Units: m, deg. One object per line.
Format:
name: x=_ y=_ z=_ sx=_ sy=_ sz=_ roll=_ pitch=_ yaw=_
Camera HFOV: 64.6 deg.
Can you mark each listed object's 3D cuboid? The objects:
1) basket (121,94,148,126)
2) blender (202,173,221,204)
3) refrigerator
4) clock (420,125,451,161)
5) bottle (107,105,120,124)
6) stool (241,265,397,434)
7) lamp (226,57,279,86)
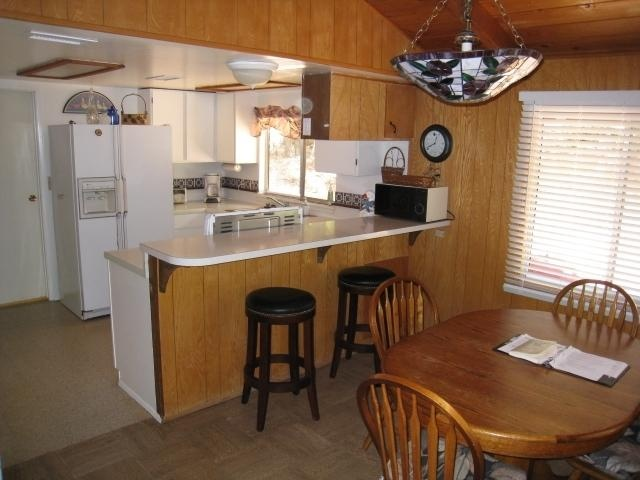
basket: x=-2.162 y=-1.539 z=5.877 sx=0.320 sy=0.355 sz=0.985 roll=-3 pitch=15 yaw=-19
blender: x=-1.502 y=-0.742 z=7.082 sx=0.230 sy=0.359 sz=0.492 roll=-2 pitch=15 yaw=-12
refrigerator: x=-2.285 y=-0.228 z=5.545 sx=1.330 sy=2.033 sz=0.796 roll=-2 pitch=15 yaw=-15
clock: x=1.121 y=-0.946 z=4.899 sx=0.045 sy=0.339 sz=0.337 roll=-9 pitch=14 yaw=-42
bottle: x=-2.246 y=-1.373 z=5.519 sx=0.115 sy=0.199 sz=0.534 roll=-4 pitch=15 yaw=-20
stool: x=-0.051 y=0.804 z=3.719 sx=1.071 sy=0.754 sz=0.387 roll=-9 pitch=19 yaw=-38
lamp: x=-0.537 y=-1.327 z=3.971 sx=0.401 sy=0.176 sz=0.307 roll=6 pitch=15 yaw=15
